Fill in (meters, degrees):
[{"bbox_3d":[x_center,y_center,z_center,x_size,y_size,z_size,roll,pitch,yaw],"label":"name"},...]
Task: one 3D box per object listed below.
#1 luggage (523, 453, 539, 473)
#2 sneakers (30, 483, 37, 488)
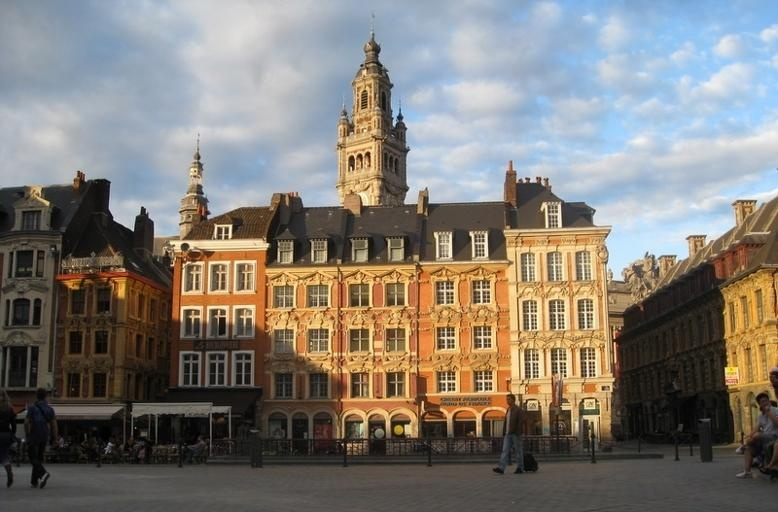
[{"bbox_3d":[6.291,9.318,47.776,0.396,0.840,1.029,-15,-21,36],"label":"luggage"},{"bbox_3d":[-14.272,9.202,42.365,0.158,0.113,0.228,-8,-5,39],"label":"sneakers"}]
